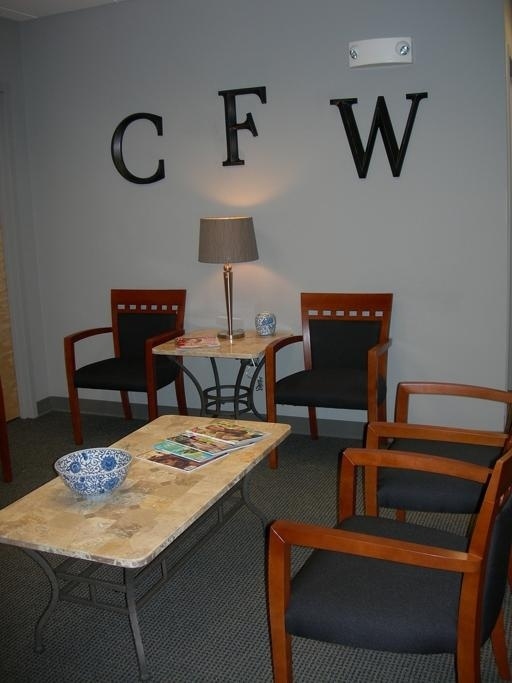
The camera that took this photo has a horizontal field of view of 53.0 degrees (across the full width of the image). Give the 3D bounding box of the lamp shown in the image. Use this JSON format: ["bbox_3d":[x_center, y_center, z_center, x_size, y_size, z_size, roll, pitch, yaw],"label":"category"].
[{"bbox_3d":[-0.197,-0.404,3.238,0.349,0.791,0.413,-6,7,-25],"label":"lamp"}]

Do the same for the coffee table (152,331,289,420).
[{"bbox_3d":[-0.200,0.226,3.293,0.674,0.653,0.689,3,11,19],"label":"coffee table"}]

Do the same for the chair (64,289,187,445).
[{"bbox_3d":[-0.899,0.173,3.518,0.731,1.004,0.732,-1,10,-4],"label":"chair"}]
